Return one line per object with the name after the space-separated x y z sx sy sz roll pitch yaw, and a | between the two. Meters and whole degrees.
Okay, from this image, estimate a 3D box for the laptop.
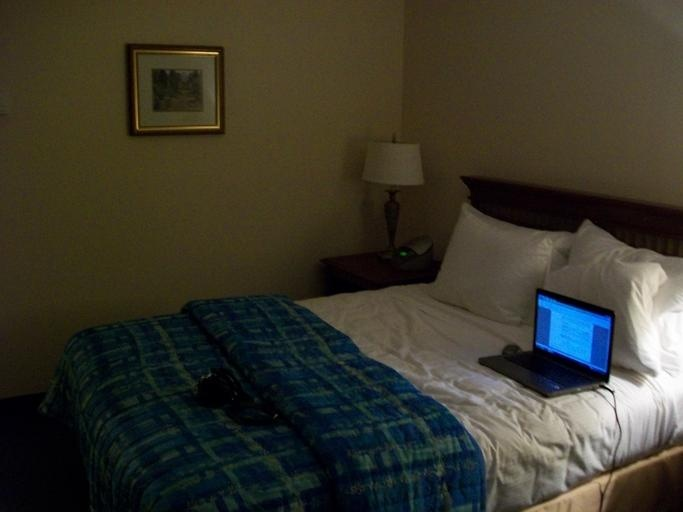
0.936 0.388 2.497 0.382 0.344 0.519 -4 8 -16 | laptop

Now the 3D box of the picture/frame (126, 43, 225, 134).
-1.179 -1.193 3.753 0.617 0.599 0.044 -4 11 -28 | picture/frame

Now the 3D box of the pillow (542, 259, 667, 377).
1.292 0.222 2.580 0.408 0.472 0.601 -6 18 -28 | pillow

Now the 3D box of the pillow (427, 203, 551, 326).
0.898 0.075 3.307 0.348 0.596 0.731 -8 22 -34 | pillow

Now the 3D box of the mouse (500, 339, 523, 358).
0.870 0.469 2.734 0.073 0.053 0.065 -2 2 -8 | mouse
